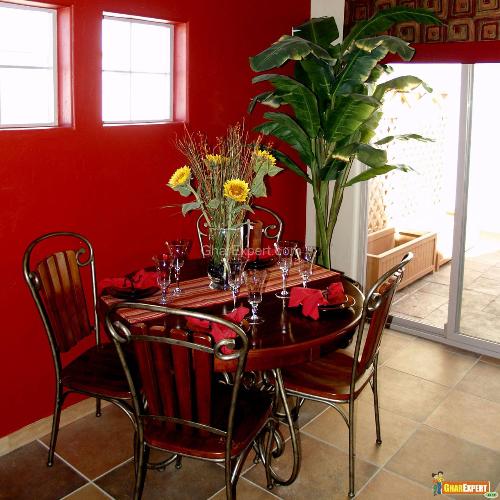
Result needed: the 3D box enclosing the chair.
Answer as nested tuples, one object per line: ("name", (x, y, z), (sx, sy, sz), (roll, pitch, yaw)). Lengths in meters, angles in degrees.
("chair", (-0.531, 0.465, 2.077), (1.384, 1.042, 0.631), (8, 16, 29))
